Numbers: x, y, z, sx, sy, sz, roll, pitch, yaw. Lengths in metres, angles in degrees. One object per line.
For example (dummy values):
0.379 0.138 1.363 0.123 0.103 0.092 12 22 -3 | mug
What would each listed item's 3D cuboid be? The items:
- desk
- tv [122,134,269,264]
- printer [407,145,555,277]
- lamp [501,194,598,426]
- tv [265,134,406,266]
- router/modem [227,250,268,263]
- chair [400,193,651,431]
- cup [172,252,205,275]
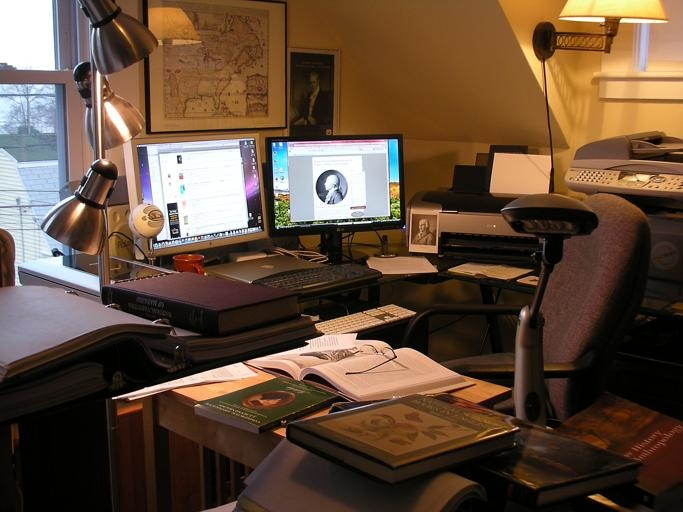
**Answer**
0.112 0.258 1.313 0.921 0.509 0.922 -8 12 -41 | desk
-0.537 -0.244 2.202 0.089 0.442 0.656 2 10 31 | tv
0.708 -0.243 2.634 0.525 0.441 0.373 1 17 27 | printer
0.387 0.134 1.093 0.159 0.517 0.310 5 14 23 | lamp
-0.061 -0.235 2.513 0.709 0.568 0.228 -9 13 -37 | tv
-0.391 -0.002 2.355 0.103 0.021 0.052 -11 17 -42 | router/modem
0.433 0.096 2.017 0.792 0.867 0.641 1 9 -3 | chair
-0.527 0.024 1.982 0.089 0.051 0.059 20 24 41 | cup
